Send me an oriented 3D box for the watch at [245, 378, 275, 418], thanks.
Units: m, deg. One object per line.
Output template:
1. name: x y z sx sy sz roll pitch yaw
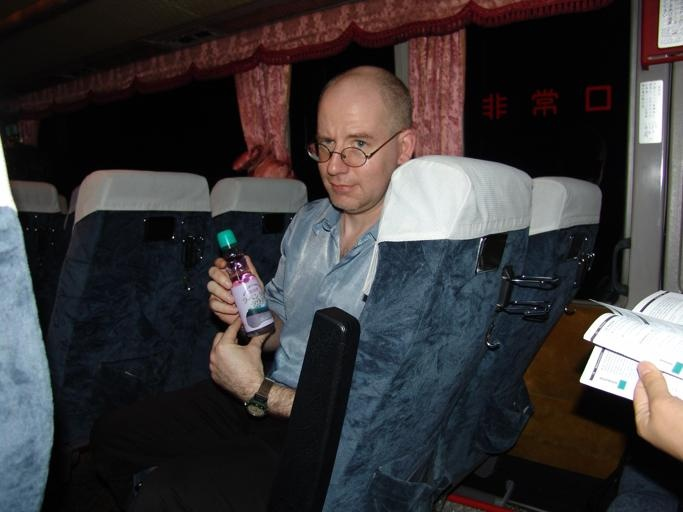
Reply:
1. watch: -0.259 0.441 1.614 0.053 0.085 0.089 28 -11 17
